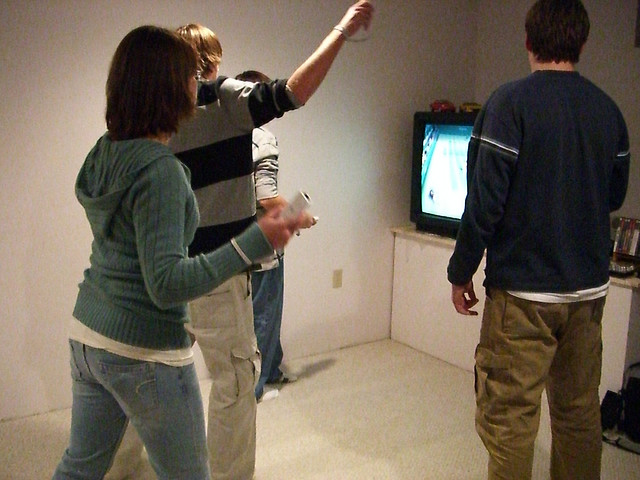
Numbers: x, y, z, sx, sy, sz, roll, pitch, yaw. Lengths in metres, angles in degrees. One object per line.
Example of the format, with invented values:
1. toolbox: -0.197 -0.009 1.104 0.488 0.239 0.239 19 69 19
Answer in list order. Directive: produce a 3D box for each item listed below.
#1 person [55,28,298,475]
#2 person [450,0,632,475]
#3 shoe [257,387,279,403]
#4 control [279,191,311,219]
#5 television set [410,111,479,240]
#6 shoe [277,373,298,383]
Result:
1. person: -0.476 0.073 1.702 0.661 1.377 0.360 5 10 33
2. person: 0.901 0.036 2.362 0.705 1.975 0.379 1 8 10
3. shoe: -0.305 0.892 3.367 0.126 0.058 0.041 -16 19 -37
4. control: -0.072 -0.103 1.645 0.086 0.077 0.047 0 8 0
5. television set: 0.906 -0.480 3.843 0.534 0.847 0.447 3 31 5
6. shoe: -0.197 0.840 3.562 0.117 0.042 0.122 1 10 3
